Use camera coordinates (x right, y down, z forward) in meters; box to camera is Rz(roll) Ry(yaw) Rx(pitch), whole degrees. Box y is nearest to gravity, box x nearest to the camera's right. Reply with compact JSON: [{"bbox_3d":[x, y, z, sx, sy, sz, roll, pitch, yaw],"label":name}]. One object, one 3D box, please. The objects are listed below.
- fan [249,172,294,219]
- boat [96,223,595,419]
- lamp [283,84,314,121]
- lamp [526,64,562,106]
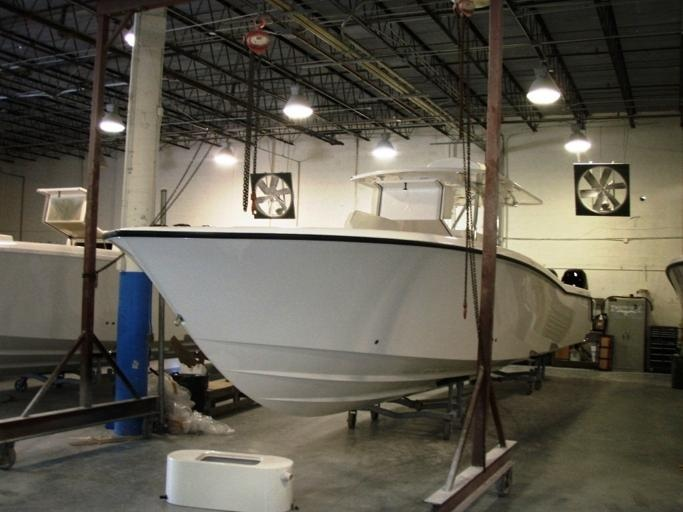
[{"bbox_3d":[-1.290,-1.168,12.160,0.980,1.126,0.212,9,23,17],"label":"fan"},{"bbox_3d":[0.775,0.932,7.321,5.386,1.524,2.601,1,-16,-33],"label":"boat"},{"bbox_3d":[-0.732,-2.574,10.531,0.455,0.529,0.485,-5,3,14],"label":"lamp"},{"bbox_3d":[3.002,-2.648,9.601,0.412,0.503,0.454,0,12,15],"label":"lamp"}]
